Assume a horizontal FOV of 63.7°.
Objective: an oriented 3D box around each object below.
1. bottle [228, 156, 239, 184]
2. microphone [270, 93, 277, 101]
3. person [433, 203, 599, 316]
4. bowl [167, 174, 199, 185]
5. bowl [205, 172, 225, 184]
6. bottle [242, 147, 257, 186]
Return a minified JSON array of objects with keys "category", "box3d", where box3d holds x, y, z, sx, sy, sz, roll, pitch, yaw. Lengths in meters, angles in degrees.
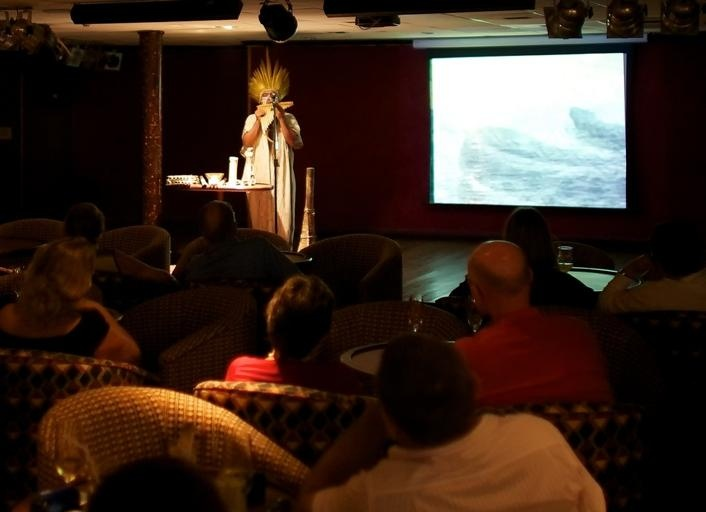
[{"category":"bottle","box3d":[-1.487,-1.054,7.061,0.116,0.333,0.533,0,10,-11]},{"category":"microphone","box3d":[-1.046,-2.084,7.489,0.095,0.093,0.023,15,6,25]},{"category":"person","box3d":[0.946,0.017,3.270,0.634,0.718,0.814,1,-5,14]},{"category":"bowl","box3d":[-2.077,-0.934,7.075,0.372,0.121,0.508,2,10,1]},{"category":"bowl","box3d":[-1.701,-0.951,7.022,0.193,0.128,0.467,0,10,-12]},{"category":"bottle","box3d":[-1.307,-1.117,7.117,0.146,0.452,0.424,0,10,-11]}]
